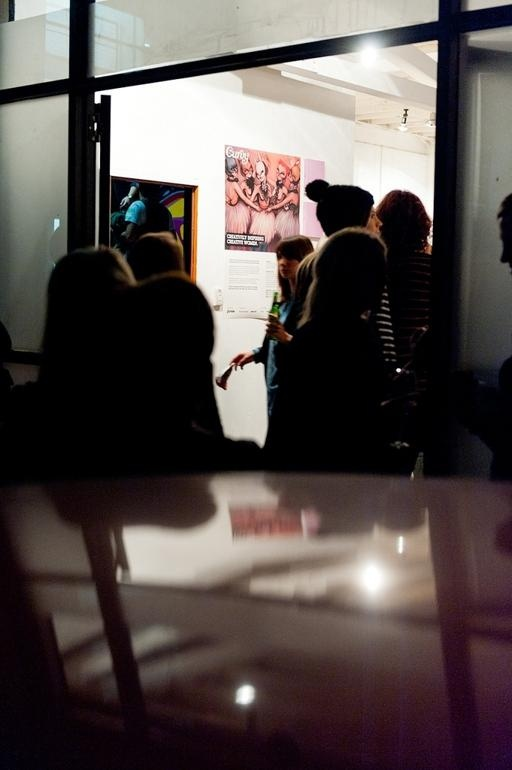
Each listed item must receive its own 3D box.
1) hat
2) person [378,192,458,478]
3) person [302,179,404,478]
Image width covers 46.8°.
[{"bbox_3d":[0.464,-0.995,3.277,0.317,0.298,0.254,15,-13,-9],"label":"hat"},{"bbox_3d":[0.765,-0.307,2.831,0.257,1.215,0.636,1,12,-12],"label":"person"},{"bbox_3d":[0.561,-0.382,3.113,0.514,1.591,0.459,-2,-27,6],"label":"person"}]
